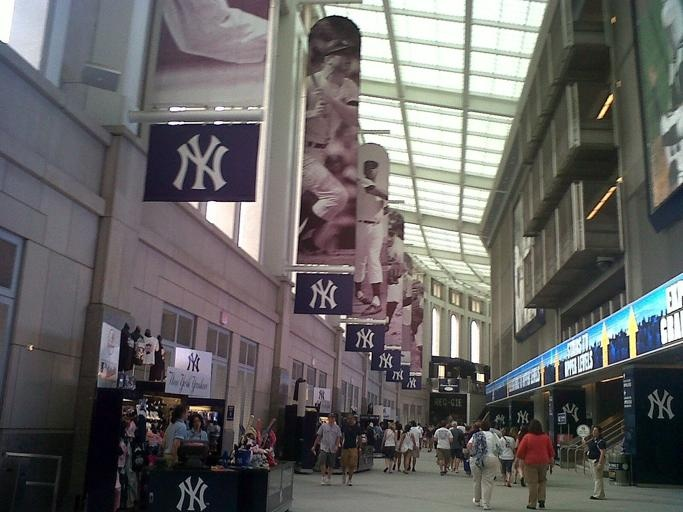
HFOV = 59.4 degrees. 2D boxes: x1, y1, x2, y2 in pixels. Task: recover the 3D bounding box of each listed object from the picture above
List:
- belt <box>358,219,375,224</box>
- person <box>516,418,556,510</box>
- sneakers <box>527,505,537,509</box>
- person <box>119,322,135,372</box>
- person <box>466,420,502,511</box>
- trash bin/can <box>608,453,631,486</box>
[{"bbox_3d":[0.758,-1.039,17.680,0.480,0.111,0.060,5,-21,-8],"label":"belt"},{"bbox_3d":[3.848,4.041,11.780,0.680,1.709,0.735,-5,-21,18],"label":"person"},{"bbox_3d":[3.679,4.833,11.577,0.073,0.099,0.144,7,-23,-29],"label":"sneakers"},{"bbox_3d":[-3.563,1.497,9.963,0.182,0.803,0.315,-3,-21,13],"label":"person"},{"bbox_3d":[2.923,4.171,12.144,0.632,1.726,1.588,-2,-21,11],"label":"person"},{"bbox_3d":[7.467,5.699,16.106,0.355,0.831,0.658,10,-22,-21],"label":"trash bin/can"}]
